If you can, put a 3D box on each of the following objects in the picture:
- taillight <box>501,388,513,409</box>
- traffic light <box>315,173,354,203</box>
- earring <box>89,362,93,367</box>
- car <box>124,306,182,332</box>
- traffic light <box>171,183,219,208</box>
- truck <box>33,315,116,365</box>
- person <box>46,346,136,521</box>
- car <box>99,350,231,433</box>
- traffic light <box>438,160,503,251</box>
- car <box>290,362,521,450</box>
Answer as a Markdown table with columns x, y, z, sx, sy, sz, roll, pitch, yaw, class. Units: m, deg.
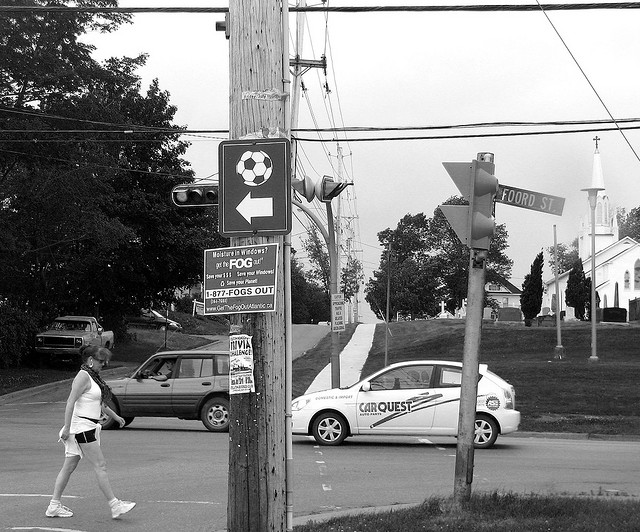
| x | y | z | sx | sy | sz | roll | pitch | yaw | class |
| --- | --- | --- | --- | --- | --- | --- | --- | --- | --- |
| 3.978 | 2.804 | 24.602 | 0.239 | 0.433 | 0.137 | 2 | -3 | -5 | taillight |
| 0.222 | -1.586 | 23.874 | 0.628 | 0.548 | 0.928 | 2 | -4 | -1 | traffic light |
| -3.553 | 1.531 | 18.060 | 0.066 | 0.017 | 0.069 | -1 | -6 | -18 | earring |
| -9.339 | 2.941 | 64.394 | 3.600 | 1.286 | 1.593 | 0 | -1 | 9 | car |
| -1.722 | -1.006 | 16.189 | 0.830 | 0.320 | 0.187 | -1 | -4 | 29 | traffic light |
| -8.567 | 2.511 | 39.589 | 1.738 | 1.460 | 3.364 | -1 | -5 | 7 | truck |
| -3.585 | 2.559 | 17.896 | 1.126 | 2.622 | 0.485 | 2 | -3 | -3 | person |
| -3.259 | 2.948 | 27.981 | 3.753 | 1.900 | 2.237 | 2 | -6 | 4 | car |
| 2.312 | -0.904 | 17.498 | 0.867 | 1.332 | 0.508 | 1 | -3 | 9 | traffic light |
| 1.825 | 2.666 | 24.482 | 4.704 | 1.686 | 2.090 | 2 | -6 | 3 | car |
